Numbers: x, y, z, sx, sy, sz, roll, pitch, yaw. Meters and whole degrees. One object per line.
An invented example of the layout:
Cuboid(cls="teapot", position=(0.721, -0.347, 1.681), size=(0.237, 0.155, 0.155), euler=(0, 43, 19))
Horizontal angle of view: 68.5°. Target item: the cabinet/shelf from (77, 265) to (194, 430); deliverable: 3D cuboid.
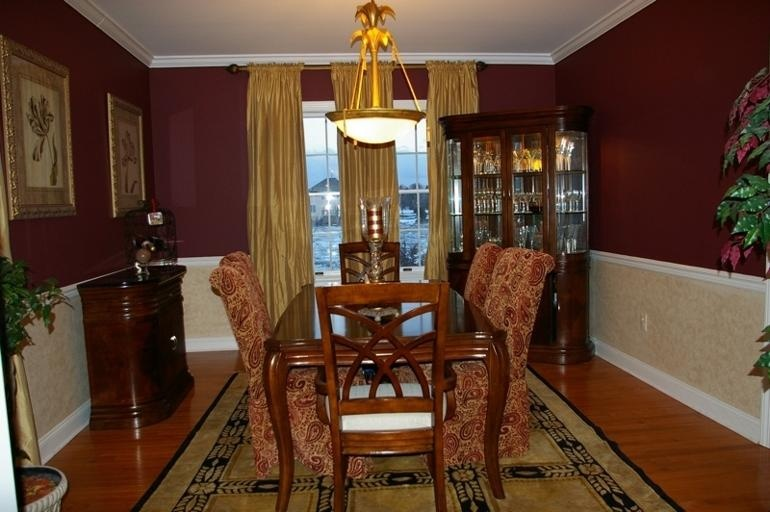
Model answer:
Cuboid(cls="cabinet/shelf", position=(-2.161, 0.821, 4.828), size=(0.463, 1.035, 1.156), euler=(-4, 8, -2))

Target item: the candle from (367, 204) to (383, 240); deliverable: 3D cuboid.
Cuboid(cls="candle", position=(-0.065, -0.224, 4.049), size=(0.125, 0.255, 0.066), euler=(-5, 6, -8))

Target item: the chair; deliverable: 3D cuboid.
Cuboid(cls="chair", position=(-0.012, 0.810, 4.589), size=(1.409, 1.452, 2.263), euler=(-2, 1, -1))
